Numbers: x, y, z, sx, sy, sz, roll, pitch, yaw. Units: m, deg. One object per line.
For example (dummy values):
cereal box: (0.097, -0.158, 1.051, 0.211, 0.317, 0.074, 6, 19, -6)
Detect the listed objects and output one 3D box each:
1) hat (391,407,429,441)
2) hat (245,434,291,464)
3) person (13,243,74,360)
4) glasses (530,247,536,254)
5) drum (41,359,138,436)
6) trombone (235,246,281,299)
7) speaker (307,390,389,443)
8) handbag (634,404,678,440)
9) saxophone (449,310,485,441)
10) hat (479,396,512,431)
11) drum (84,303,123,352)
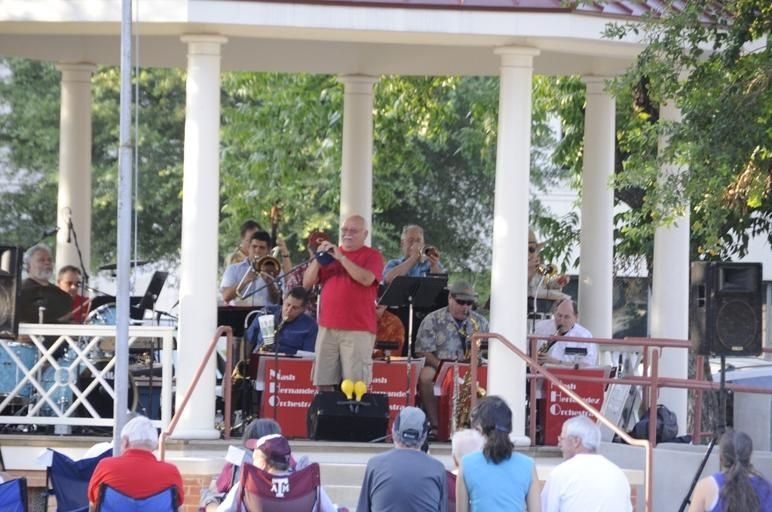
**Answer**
hat: (0.314, 2.234, 26.092, 0.434, 0.493, 0.187, 1, -3, -1)
hat: (-1.512, 2.525, 26.021, 0.418, 0.224, 0.307, 19, 1, 16)
person: (-5.235, 0.678, 29.964, 0.701, 1.825, 0.731, 1, -4, 9)
glasses: (2.406, -0.097, 32.372, 0.083, 0.082, 0.083, 0, -8, 9)
drum: (-4.184, 2.054, 29.822, 1.324, 1.287, 1.304, -3, -26, 27)
trombone: (-1.923, 0.356, 29.969, 0.424, 0.448, 1.081, 36, -43, 6)
speaker: (-0.545, 2.337, 28.803, 1.114, 0.720, 0.398, 2, -3, -13)
handbag: (4.035, 2.457, 29.321, 0.555, 0.536, 0.540, -5, -5, 27)
saxophone: (1.213, 1.815, 29.675, 0.480, 1.776, 0.429, 0, 4, -1)
hat: (1.450, 2.091, 26.119, 0.328, 0.419, 0.436, 0, 5, -5)
drum: (-4.382, 1.076, 30.026, 0.435, 0.770, 1.346, 1, -4, -9)
